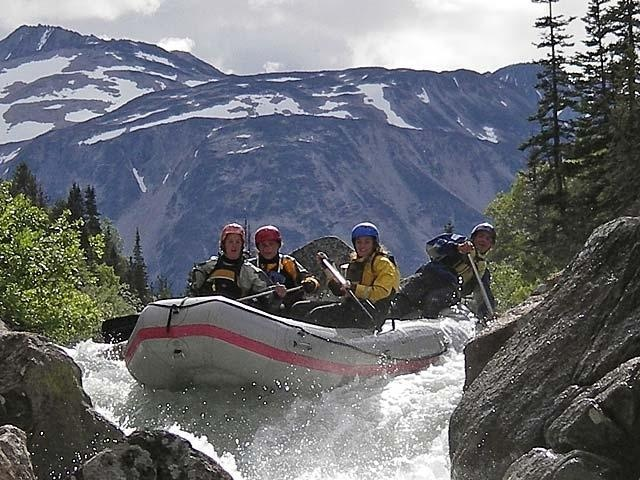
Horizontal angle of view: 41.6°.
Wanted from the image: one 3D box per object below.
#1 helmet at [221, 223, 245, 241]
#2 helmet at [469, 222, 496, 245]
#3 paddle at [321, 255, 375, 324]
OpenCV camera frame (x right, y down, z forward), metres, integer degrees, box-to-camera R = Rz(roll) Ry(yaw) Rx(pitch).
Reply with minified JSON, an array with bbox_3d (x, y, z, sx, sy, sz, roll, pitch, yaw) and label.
[{"bbox_3d":[-1.769,-0.160,16.773,0.561,0.271,0.458,-4,1,-21],"label":"helmet"},{"bbox_3d":[3.946,-0.237,20.367,0.440,0.530,0.590,22,11,-13],"label":"helmet"},{"bbox_3d":[0.565,1.035,17.137,0.215,1.624,0.071,-30,16,39],"label":"paddle"}]
